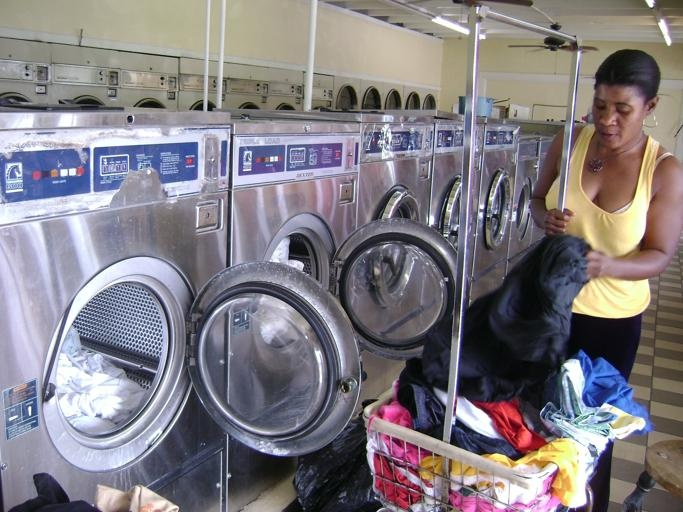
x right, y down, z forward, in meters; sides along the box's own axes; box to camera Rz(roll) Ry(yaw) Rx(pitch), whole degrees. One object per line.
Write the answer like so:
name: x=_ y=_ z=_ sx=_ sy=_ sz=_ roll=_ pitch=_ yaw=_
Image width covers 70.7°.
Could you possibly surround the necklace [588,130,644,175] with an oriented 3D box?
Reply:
necklace: x=0.880 y=-0.333 z=1.560 sx=0.125 sy=0.069 sz=0.177 roll=4 pitch=0 yaw=21
